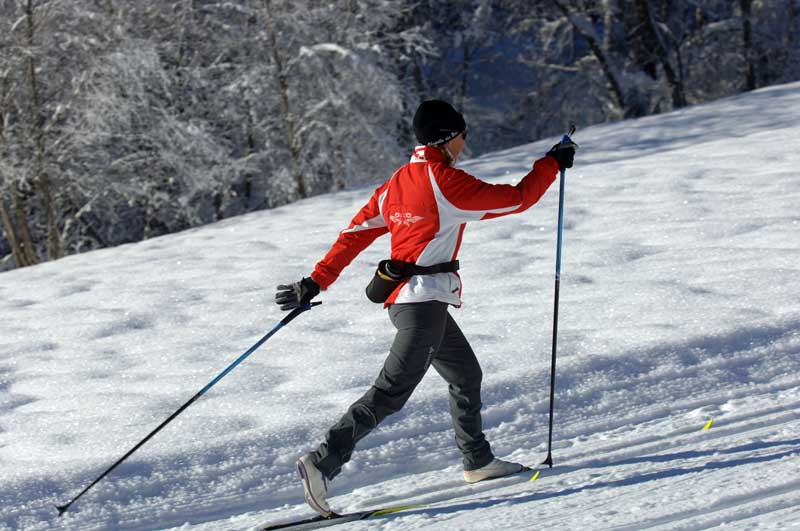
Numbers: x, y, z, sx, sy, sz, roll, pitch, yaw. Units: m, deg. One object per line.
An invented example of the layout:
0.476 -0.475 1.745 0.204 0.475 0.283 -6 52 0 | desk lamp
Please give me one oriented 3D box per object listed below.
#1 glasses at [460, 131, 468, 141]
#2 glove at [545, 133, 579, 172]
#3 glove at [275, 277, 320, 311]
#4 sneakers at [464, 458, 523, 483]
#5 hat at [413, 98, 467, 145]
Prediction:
0.671 -1.399 10.844 0.078 0.086 0.072 2 -16 -18 | glasses
1.722 -1.214 11.040 0.425 0.356 0.147 5 5 -7 | glove
-1.138 0.309 10.895 0.469 0.174 0.355 -22 20 -6 | glove
0.982 2.256 11.089 0.715 0.236 0.221 -13 7 -4 | sneakers
0.416 -1.478 10.897 0.579 0.386 0.398 -18 -5 -2 | hat
